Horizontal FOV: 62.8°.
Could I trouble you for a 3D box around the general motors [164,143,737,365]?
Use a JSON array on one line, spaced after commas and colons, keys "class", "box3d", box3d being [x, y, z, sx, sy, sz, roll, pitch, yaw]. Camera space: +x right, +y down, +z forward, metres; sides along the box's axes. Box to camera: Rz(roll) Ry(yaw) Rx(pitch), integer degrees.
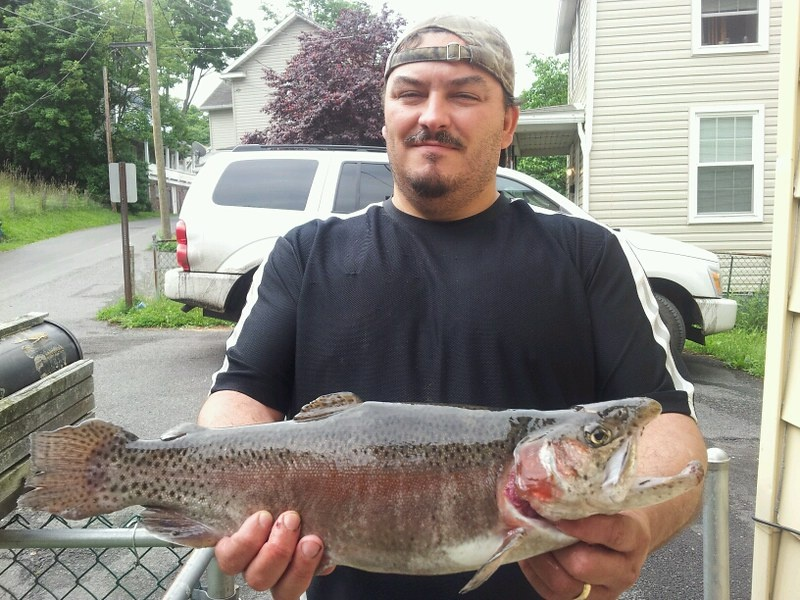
[{"class": "general motors", "box3d": [0.583, -0.694, 7.957, 5.736, 2.342, 2.707, -2, 4, 5]}]
